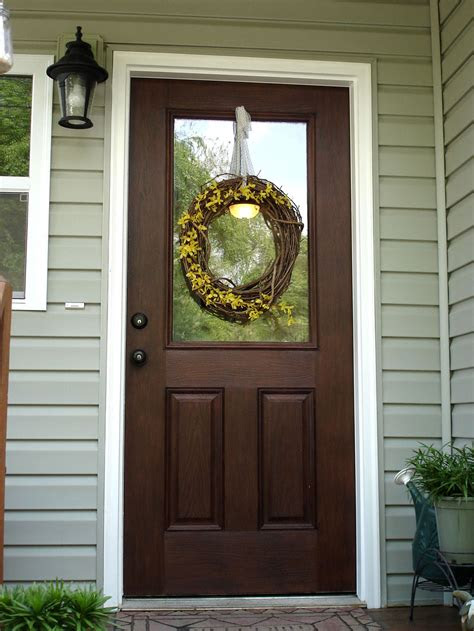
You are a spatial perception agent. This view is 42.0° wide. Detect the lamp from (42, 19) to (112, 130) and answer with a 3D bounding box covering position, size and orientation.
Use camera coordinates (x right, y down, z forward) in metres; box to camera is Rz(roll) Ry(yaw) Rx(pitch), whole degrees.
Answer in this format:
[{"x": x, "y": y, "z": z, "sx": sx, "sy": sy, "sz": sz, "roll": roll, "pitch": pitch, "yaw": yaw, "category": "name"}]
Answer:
[{"x": -0.531, "y": -0.800, "z": 2.055, "sx": 0.170, "sy": 0.334, "sz": 0.155, "roll": -7, "pitch": -11, "yaw": 33, "category": "lamp"}]
